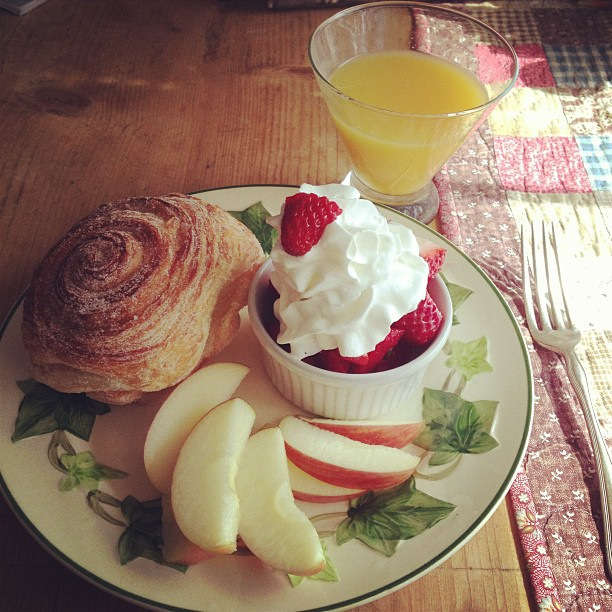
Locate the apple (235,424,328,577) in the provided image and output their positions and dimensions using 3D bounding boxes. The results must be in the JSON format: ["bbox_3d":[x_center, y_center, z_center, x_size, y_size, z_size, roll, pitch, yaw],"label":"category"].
[{"bbox_3d":[-0.060,0.302,1.038,0.110,0.040,0.241,-16,60,-9],"label":"apple"}]

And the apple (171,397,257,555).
[{"bbox_3d":[-0.157,0.259,1.064,0.134,0.078,0.238,17,51,-16],"label":"apple"}]

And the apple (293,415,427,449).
[{"bbox_3d":[0.118,0.218,1.159,0.258,0.057,0.054,3,10,6],"label":"apple"}]

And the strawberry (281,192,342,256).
[{"bbox_3d":[0.003,-0.131,1.082,0.088,0.057,0.100,13,61,8],"label":"strawberry"}]

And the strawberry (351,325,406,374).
[{"bbox_3d":[0.118,0.074,1.150,0.110,0.075,0.031,-9,26,-30],"label":"strawberry"}]

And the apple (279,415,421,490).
[{"bbox_3d":[0.066,0.256,1.130,0.240,0.061,0.091,12,28,13],"label":"apple"}]
